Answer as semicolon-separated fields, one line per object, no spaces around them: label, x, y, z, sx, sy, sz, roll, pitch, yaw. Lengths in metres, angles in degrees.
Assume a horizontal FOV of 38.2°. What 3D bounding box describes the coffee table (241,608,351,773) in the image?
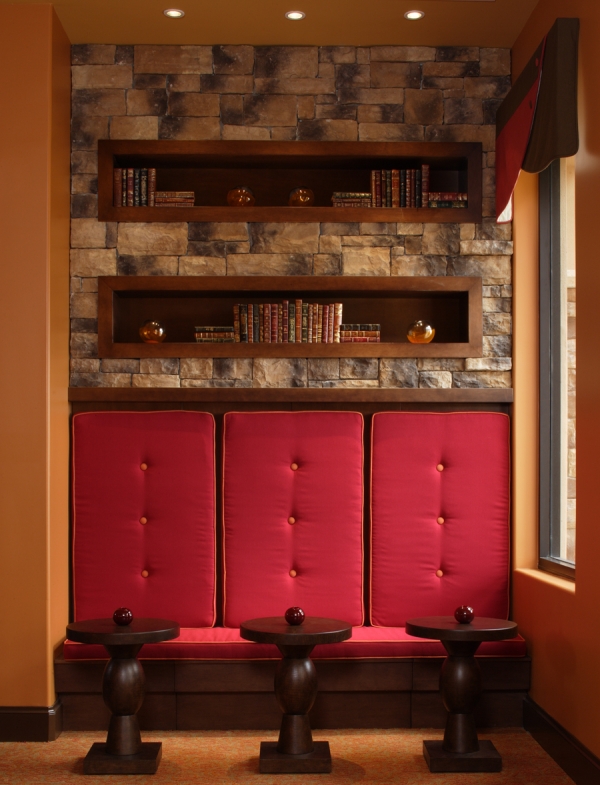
coffee table;-0.016;1.134;3.306;0.543;0.590;0.504;1;-12;-4

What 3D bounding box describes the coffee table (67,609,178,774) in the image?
coffee table;-0.641;1.136;3.359;0.564;0.645;0.527;1;-11;-6

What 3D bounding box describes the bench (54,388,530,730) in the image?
bench;-0.027;0.672;3.726;2.000;1.228;0.602;-1;5;3

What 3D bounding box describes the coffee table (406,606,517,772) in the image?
coffee table;0.612;1.094;3.266;0.402;0.549;0.327;-1;1;8

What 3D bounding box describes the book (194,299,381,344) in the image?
book;-0.059;-0.315;3.928;0.833;0.196;0.065;-1;1;0
